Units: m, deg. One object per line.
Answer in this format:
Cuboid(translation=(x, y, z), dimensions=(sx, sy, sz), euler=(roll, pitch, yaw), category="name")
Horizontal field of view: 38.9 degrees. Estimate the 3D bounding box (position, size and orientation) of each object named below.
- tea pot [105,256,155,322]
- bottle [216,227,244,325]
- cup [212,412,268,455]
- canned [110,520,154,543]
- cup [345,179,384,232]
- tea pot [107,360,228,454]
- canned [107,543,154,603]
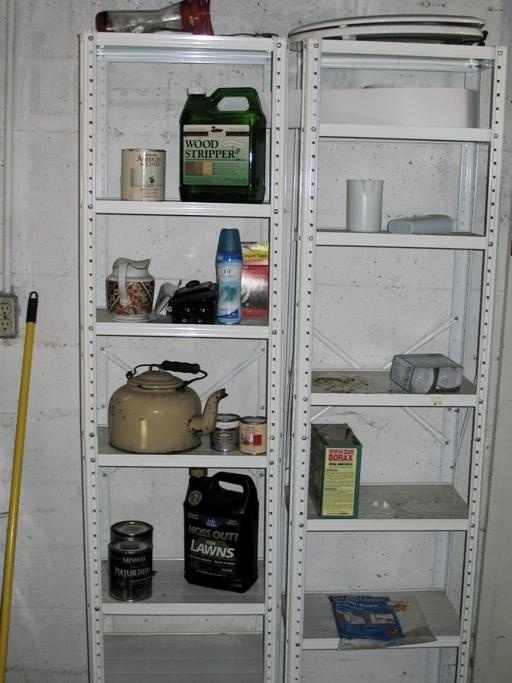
Cuboid(translation=(-0.287, -0.117, 1.669), dimensions=(0.115, 0.143, 0.143), euler=(2, 0, -3), category="tea pot")
Cuboid(translation=(-0.057, -0.150, 1.697), dimensions=(0.076, 0.220, 0.057), euler=(-1, 7, -26), category="bottle")
Cuboid(translation=(-0.044, 0.228, 1.763), dimensions=(0.157, 0.083, 0.086), euler=(1, -1, 15), category="cup")
Cuboid(translation=(-0.332, 0.509, 1.951), dimensions=(0.077, 0.043, 0.074), euler=(3, 1, -17), category="canned")
Cuboid(translation=(0.249, -0.314, 1.675), dimensions=(0.118, 0.124, 0.115), euler=(0, 8, 0), category="cup")
Cuboid(translation=(-0.219, 0.151, 1.740), dimensions=(0.282, 0.191, 0.201), euler=(3, 4, -10), category="tea pot")
Cuboid(translation=(-0.304, 0.594, 1.868), dimensions=(0.131, 0.130, 0.126), euler=(0, -3, -4), category="canned")
